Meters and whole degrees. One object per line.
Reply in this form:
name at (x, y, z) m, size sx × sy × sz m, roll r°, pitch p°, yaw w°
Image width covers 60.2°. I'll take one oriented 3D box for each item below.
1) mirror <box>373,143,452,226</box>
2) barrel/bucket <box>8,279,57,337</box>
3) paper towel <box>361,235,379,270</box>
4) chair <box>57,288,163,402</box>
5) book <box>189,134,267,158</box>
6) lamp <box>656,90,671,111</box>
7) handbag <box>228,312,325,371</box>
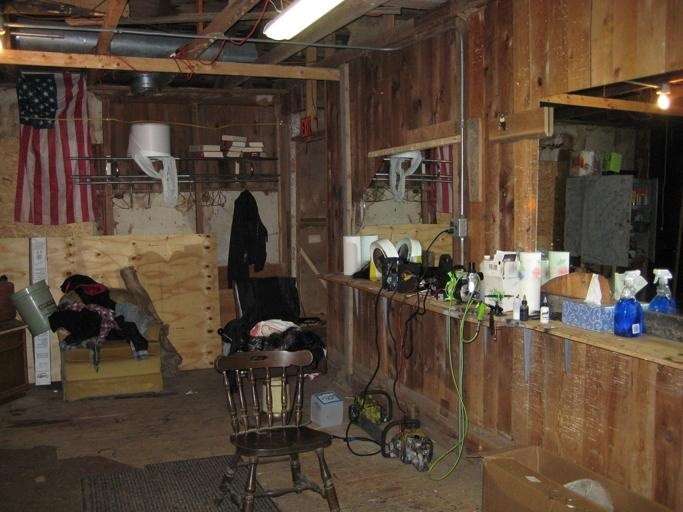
mirror at (0.624, -0.653, 5.299) m, size 0.156 × 0.674 × 1.145 m, roll -5°, pitch 11°, yaw -23°
barrel/bucket at (-3.265, 0.574, 6.316) m, size 0.431 × 0.599 × 0.260 m, roll -9°, pitch 13°, yaw -38°
paper towel at (0.277, -0.034, 5.551) m, size 0.159 × 0.295 × 0.395 m, roll -2°, pitch 10°, yaw -5°
chair at (-2.290, 0.942, 6.077) m, size 0.892 × 1.097 × 0.998 m, roll 2°, pitch -27°, yaw -24°
book at (-1.554, -1.519, 8.108) m, size 1.057 × 0.305 × 0.426 m, roll -5°, pitch 11°, yaw -21°
lamp at (1.987, -0.975, 3.625) m, size 0.082 × 0.142 × 0.135 m, roll 5°, pitch 12°, yaw 31°
handbag at (-0.624, 0.748, 5.352) m, size 0.720 × 0.240 × 0.518 m, roll 3°, pitch -15°, yaw -1°
